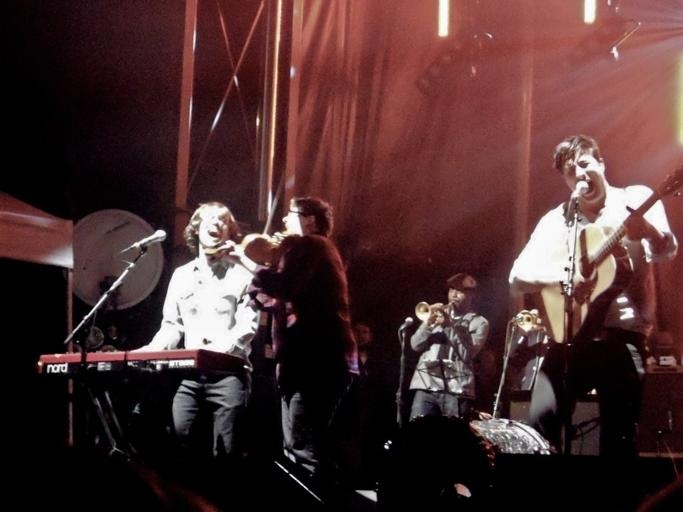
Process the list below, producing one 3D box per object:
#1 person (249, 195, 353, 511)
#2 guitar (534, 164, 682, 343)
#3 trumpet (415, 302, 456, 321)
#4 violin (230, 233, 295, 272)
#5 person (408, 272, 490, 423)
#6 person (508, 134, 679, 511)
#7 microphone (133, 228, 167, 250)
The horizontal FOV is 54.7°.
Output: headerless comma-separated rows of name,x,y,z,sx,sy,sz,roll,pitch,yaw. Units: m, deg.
person,-0.256,0.750,4.853,0.751,1.829,0.292,5,-12,-1
guitar,1.970,0.114,4.834,0.205,0.725,1.516,11,-53,-30
trumpet,1.031,0.627,7.316,0.432,0.217,0.183,10,-23,-42
violin,-0.613,-0.078,5.352,0.384,0.267,0.223,-16,32,-42
person,1.167,0.932,7.144,0.822,1.604,0.544,4,-12,6
person,1.845,0.270,4.838,0.652,2.306,1.036,12,-14,-27
microphone,-1.869,-0.164,6.379,0.279,0.117,0.109,-20,10,18
